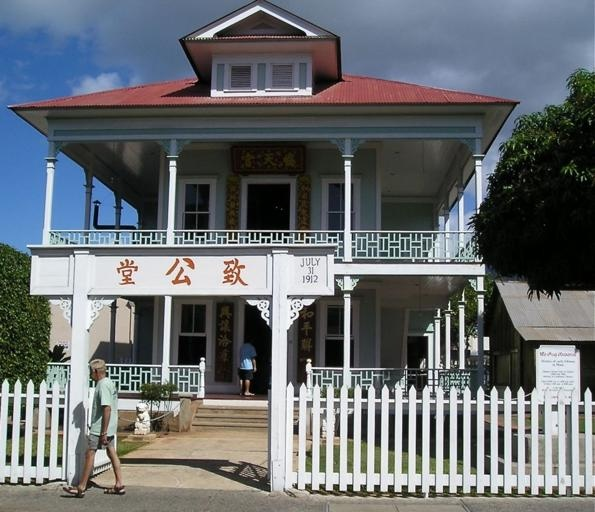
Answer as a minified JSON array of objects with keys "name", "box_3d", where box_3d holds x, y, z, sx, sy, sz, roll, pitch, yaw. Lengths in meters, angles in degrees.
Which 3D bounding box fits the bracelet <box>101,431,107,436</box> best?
[{"name":"bracelet","box_3d":[-2.969,2.689,12.981,0.121,0.073,0.078,-2,-12,21]}]

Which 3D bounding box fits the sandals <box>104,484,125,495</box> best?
[{"name":"sandals","box_3d":[-2.804,3.542,13.010,0.339,0.156,0.137,0,-12,18]}]

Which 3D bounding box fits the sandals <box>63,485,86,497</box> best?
[{"name":"sandals","box_3d":[-3.379,3.560,12.886,0.267,0.133,0.160,17,-14,9]}]

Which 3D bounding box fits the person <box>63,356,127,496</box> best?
[{"name":"person","box_3d":[-3.058,2.657,13.274,0.857,2.079,0.766,5,-11,-12]}]

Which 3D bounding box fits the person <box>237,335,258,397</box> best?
[{"name":"person","box_3d":[-1.285,2.863,21.550,0.423,1.356,0.592,3,-11,-4]}]
